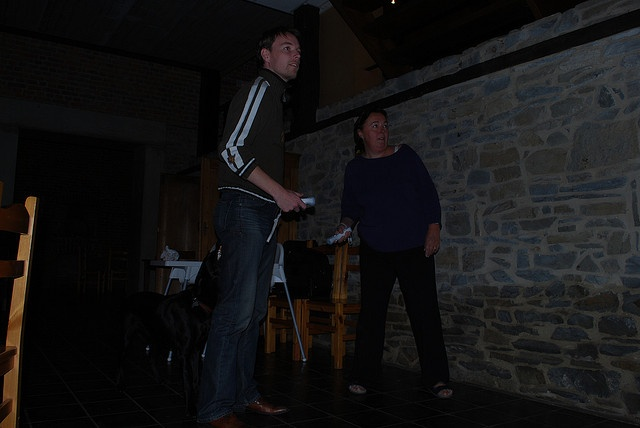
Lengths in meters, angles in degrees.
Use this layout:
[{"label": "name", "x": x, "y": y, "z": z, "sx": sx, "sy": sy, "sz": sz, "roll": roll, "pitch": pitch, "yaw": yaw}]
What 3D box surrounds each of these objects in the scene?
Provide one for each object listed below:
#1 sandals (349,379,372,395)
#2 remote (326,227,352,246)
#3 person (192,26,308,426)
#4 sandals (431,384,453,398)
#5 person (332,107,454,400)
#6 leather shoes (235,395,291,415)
[{"label": "sandals", "x": 0.369, "y": 1.512, "z": 3.637, "sx": 0.140, "sy": 0.112, "sz": 0.254, "roll": -4, "pitch": -7, "yaw": 43}, {"label": "remote", "x": 0.177, "y": 0.186, "z": 3.583, "sx": 0.291, "sy": 0.117, "sz": 0.097, "roll": -21, "pitch": -19, "yaw": -42}, {"label": "person", "x": -0.473, "y": 0.080, "z": 2.939, "sx": 0.637, "sy": 2.793, "sz": 0.565, "roll": 3, "pitch": -6, "yaw": -17}, {"label": "sandals", "x": 1.042, "y": 1.505, "z": 3.477, "sx": 0.098, "sy": 0.058, "sz": 0.184, "roll": -1, "pitch": -11, "yaw": -8}, {"label": "person", "x": 0.651, "y": 0.296, "z": 3.678, "sx": 1.003, "sy": 2.552, "sz": 0.347, "roll": 1, "pitch": -5, "yaw": 4}, {"label": "leather shoes", "x": -0.422, "y": 1.427, "z": 3.129, "sx": 0.413, "sy": 0.147, "sz": 0.136, "roll": -1, "pitch": -5, "yaw": -4}]
